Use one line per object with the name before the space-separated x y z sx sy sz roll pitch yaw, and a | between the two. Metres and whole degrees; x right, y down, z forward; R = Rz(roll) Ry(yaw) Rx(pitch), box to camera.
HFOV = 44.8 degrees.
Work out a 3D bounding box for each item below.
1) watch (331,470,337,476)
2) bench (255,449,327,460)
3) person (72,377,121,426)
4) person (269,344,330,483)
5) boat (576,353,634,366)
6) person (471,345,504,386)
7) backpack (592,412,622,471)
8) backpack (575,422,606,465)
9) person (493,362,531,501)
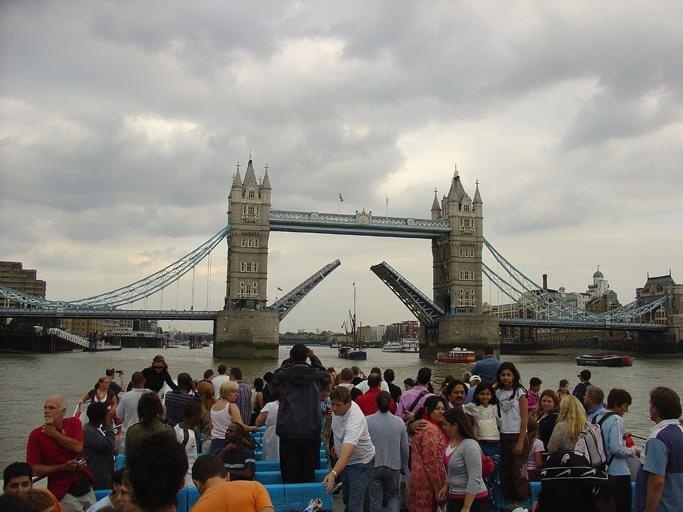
watch | -0.095 2.597 10.006 0.086 0.032 0.064 30 -29 30
bench | -0.689 2.749 11.527 0.783 0.147 0.499 -1 -3 2
person | -3.962 2.563 13.484 0.578 1.166 0.461 2 -5 2
person | -0.547 2.099 11.186 0.737 1.815 0.761 2 -8 -2
boat | 19.517 7.770 61.594 1.644 0.702 4.774 3 -8 -17
person | 2.295 1.792 13.016 0.483 0.786 0.452 0 7 -8
backpack | 3.387 2.377 10.556 0.406 0.719 0.490 8 -18 2
backpack | 3.120 2.368 10.426 0.437 0.569 0.322 6 -16 -16
person | 2.338 2.437 11.417 0.477 1.946 0.384 -3 -9 26
